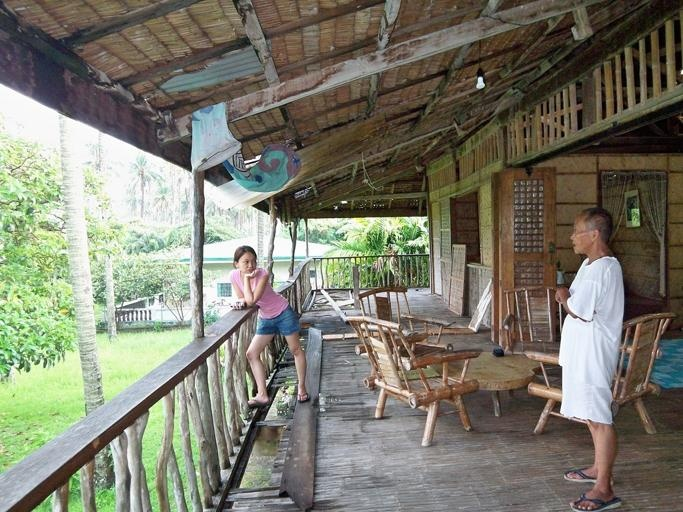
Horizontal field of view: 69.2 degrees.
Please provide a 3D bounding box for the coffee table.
[{"bbox_3d":[1.367,1.026,4.407,0.627,0.251,0.676,-9,8,-10],"label":"coffee table"}]

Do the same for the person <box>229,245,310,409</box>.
[{"bbox_3d":[-0.684,0.651,4.779,0.698,1.558,0.593,-2,8,-9],"label":"person"}]

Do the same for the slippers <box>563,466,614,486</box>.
[{"bbox_3d":[1.717,1.553,3.502,0.290,0.069,0.154,4,-4,-9],"label":"slippers"}]

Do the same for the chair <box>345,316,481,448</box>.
[{"bbox_3d":[0.613,1.024,4.344,0.803,1.041,0.827,-6,4,-28],"label":"chair"}]

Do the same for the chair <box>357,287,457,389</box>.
[{"bbox_3d":[0.983,0.962,6.055,1.082,1.473,1.011,-2,-4,-37],"label":"chair"}]

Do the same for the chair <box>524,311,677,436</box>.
[{"bbox_3d":[2.054,0.926,3.996,0.927,1.073,0.826,-4,5,-42],"label":"chair"}]
